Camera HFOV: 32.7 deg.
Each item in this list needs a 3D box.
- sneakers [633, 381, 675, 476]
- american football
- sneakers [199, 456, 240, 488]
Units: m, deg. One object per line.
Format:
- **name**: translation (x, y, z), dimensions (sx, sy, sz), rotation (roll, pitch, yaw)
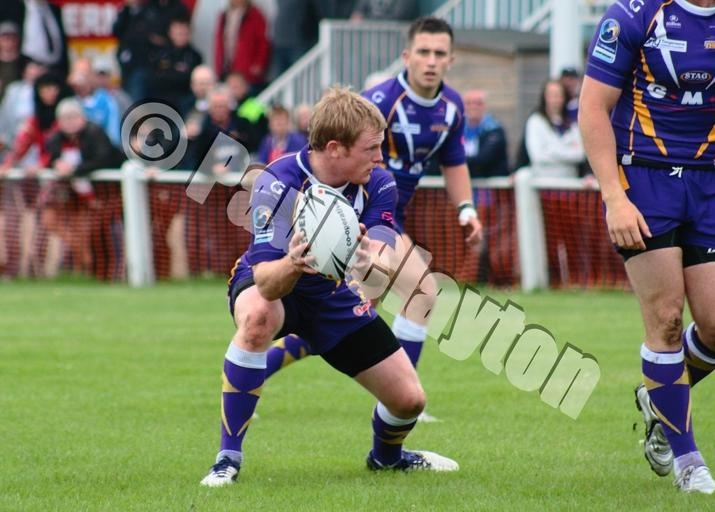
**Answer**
- **sneakers**: translation (1.949, 1.140, 7.724), dimensions (0.189, 0.598, 0.277), rotation (-15, 12, 11)
- **american football**: translation (-0.176, -0.132, 7.282), dimensions (0.384, 0.553, 0.238), rotation (0, 10, -1)
- **sneakers**: translation (-0.836, 1.331, 7.532), dimensions (0.266, 0.160, 0.196), rotation (-3, 11, -19)
